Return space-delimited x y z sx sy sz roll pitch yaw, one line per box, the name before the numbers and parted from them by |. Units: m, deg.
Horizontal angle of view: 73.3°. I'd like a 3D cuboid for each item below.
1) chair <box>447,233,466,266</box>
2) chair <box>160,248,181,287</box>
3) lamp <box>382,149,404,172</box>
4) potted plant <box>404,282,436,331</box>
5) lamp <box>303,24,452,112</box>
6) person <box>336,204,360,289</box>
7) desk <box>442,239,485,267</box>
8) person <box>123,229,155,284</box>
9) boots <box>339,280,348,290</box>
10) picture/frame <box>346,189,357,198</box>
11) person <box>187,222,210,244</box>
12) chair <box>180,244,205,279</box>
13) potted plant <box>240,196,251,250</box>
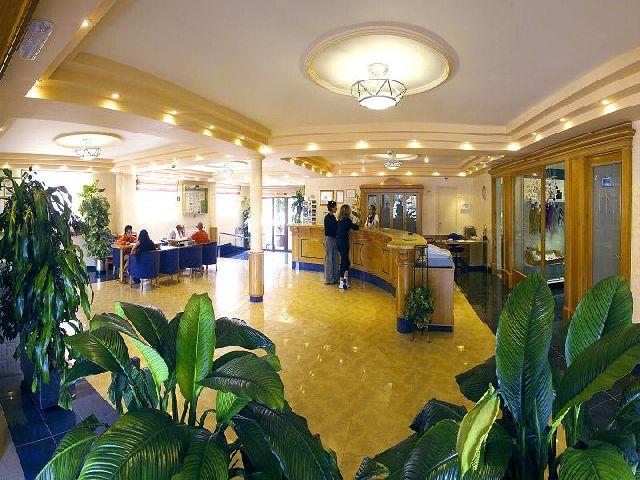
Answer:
chair | 3.450 0.274 10.935 0.401 0.871 1.554 1 7 19
chair | -3.145 0.561 9.043 0.274 0.772 0.476 4 8 41
lamp | 1.604 -1.730 9.568 0.466 0.636 0.493 0 2 -4
potted plant | 1.339 0.823 6.032 0.479 0.819 0.622 1 8 11
lamp | 0.594 -1.685 4.420 1.536 0.544 1.332 -1 7 -2
person | 0.567 0.124 8.979 0.416 1.676 1.023 0 6 4
desk | 3.638 0.315 10.847 0.888 0.621 0.960 -1 7 3
person | -3.618 0.383 8.720 0.455 1.211 0.888 -4 7 -31
boots | 0.450 0.883 8.672 0.193 0.195 0.257 0 7 4
picture/frame | 0.875 -1.308 12.136 0.226 0.244 0.025 1 -5 3
person | -2.877 -0.157 10.311 0.390 0.514 0.945 -3 7 -18
chair | -2.966 0.454 9.787 0.579 0.780 0.594 -4 10 -32
potted plant | -2.953 -0.660 16.900 0.305 1.963 0.717 -2 6 -12
